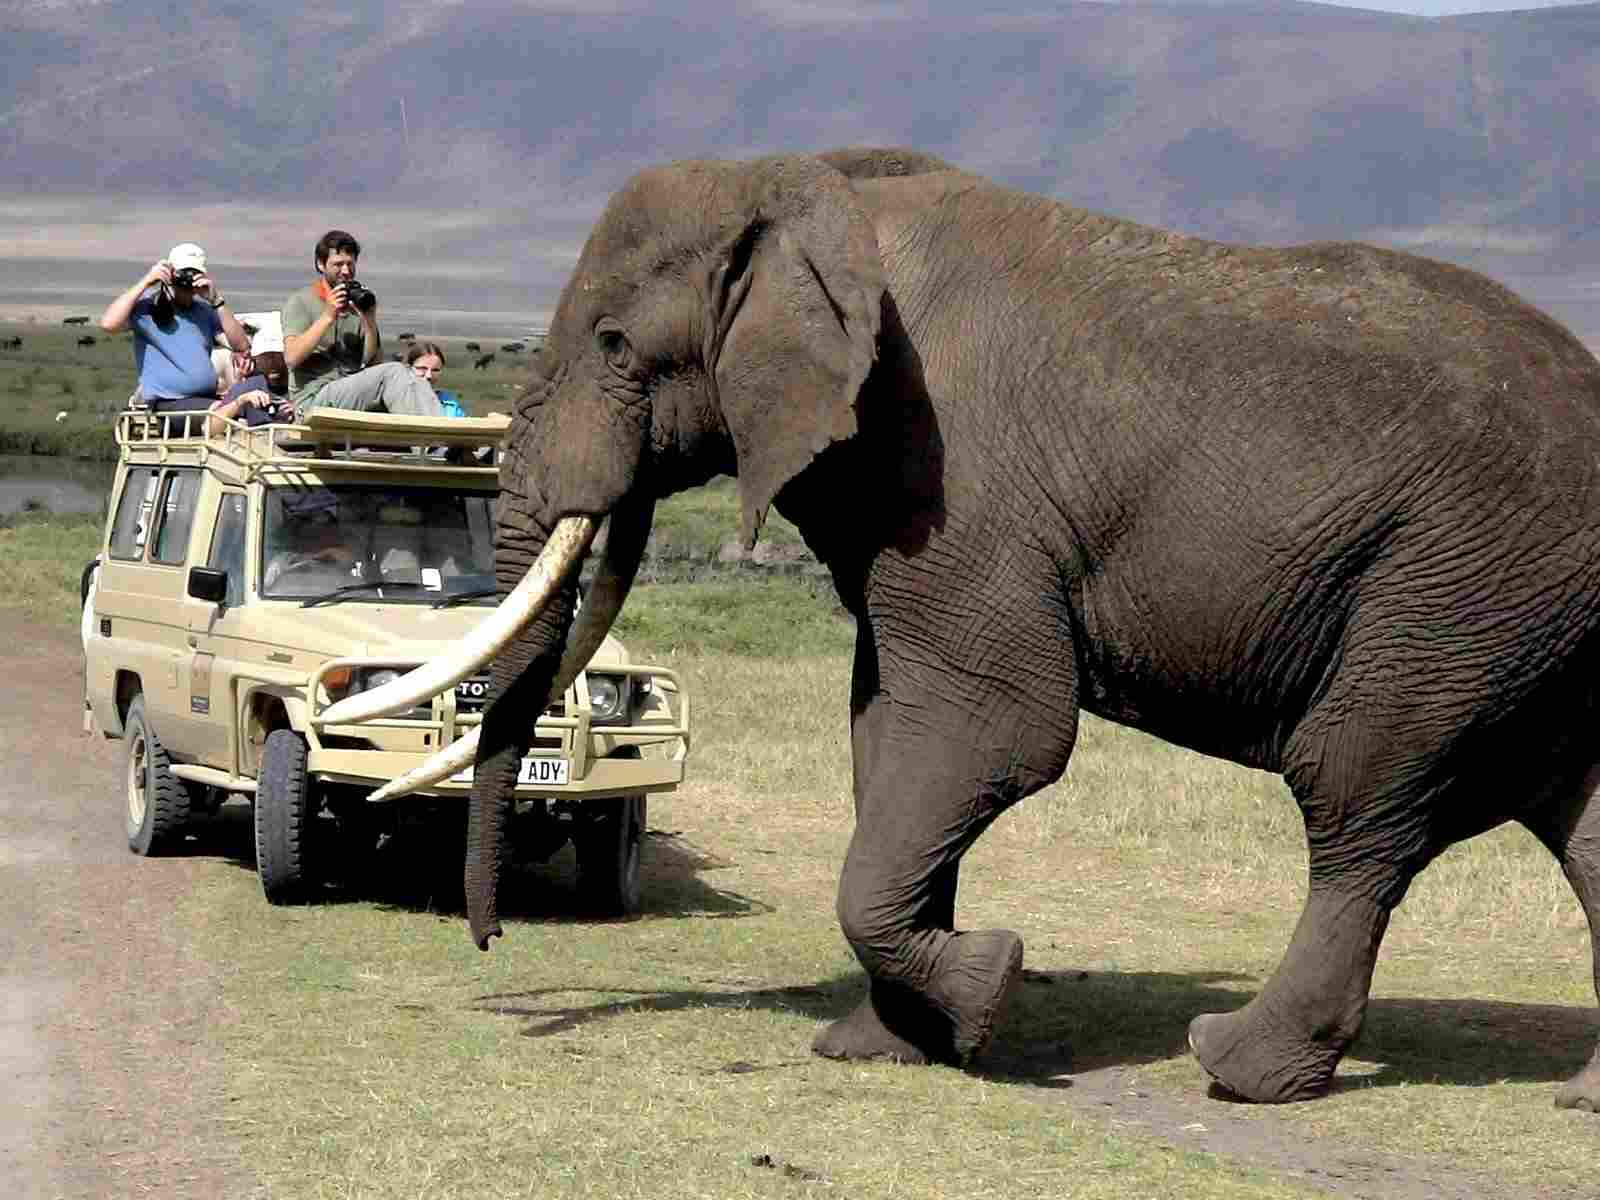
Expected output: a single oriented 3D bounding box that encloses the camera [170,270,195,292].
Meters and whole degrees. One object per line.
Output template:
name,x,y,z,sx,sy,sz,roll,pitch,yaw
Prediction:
camera,-4.212,-2.174,14.656,0.144,0.160,0.041,1,-2,-23
